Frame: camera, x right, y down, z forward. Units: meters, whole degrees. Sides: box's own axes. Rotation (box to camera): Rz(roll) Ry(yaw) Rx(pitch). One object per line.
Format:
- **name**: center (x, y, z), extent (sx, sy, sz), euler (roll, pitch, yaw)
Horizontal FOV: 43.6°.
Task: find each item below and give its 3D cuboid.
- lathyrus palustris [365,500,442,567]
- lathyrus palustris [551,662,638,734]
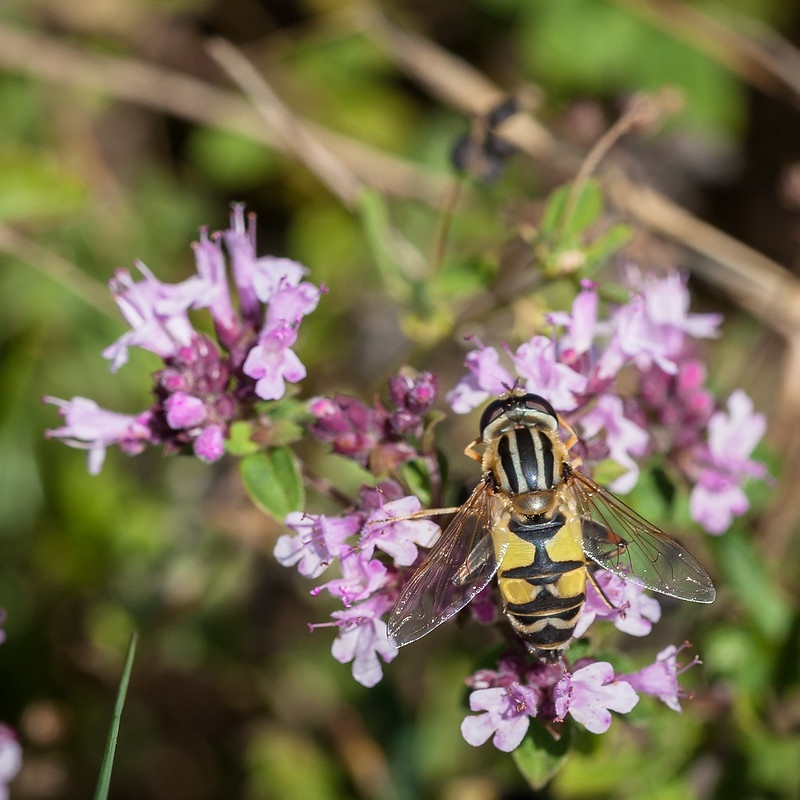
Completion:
- **lathyrus palustris**: center (0.002, 0.392, 2.993), extent (0.179, 0.214, 0.217), euler (29, 81, 15)
- **lathyrus palustris**: center (0.541, 0.852, 2.870), extent (0.223, 0.167, 0.188), euler (-39, 73, -3)
